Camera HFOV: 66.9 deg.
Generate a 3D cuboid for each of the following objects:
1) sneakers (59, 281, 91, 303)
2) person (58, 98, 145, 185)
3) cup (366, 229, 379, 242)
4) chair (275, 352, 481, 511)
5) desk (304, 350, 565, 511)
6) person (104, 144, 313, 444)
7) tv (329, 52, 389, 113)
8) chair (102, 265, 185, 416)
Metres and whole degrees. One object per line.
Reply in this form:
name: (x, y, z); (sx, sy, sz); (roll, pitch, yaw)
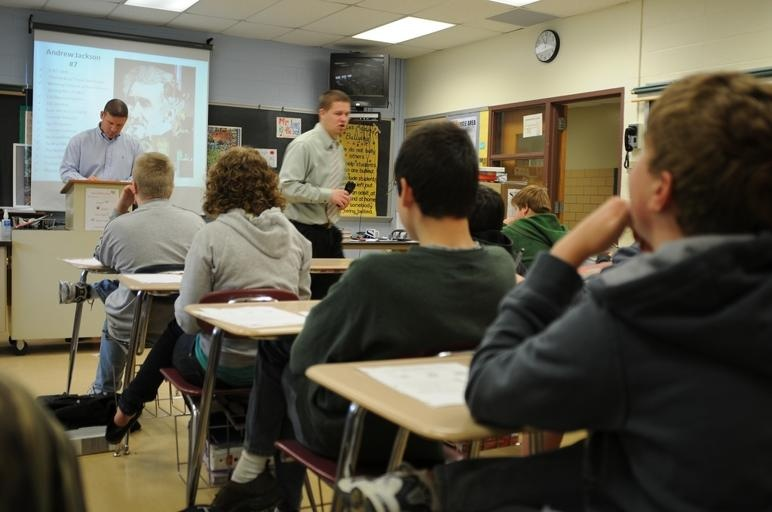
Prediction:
sneakers: (-1.821, 0.200, 3.444); (0.188, 0.085, 0.108); (0, 2, -41)
person: (-3.018, -1.074, 6.250); (0.835, 1.291, 0.676); (2, 9, -39)
cup: (-0.172, -0.263, 6.272); (0.150, 0.145, 0.102); (1, 3, 28)
chair: (-0.032, 0.342, 1.189); (0.330, 0.316, 0.330); (1, 7, -14)
desk: (0.088, 0.313, 1.260); (0.438, 0.325, 0.359); (-2, 5, -40)
person: (-0.781, 0.210, 2.675); (0.642, 1.414, 0.949); (6, 5, -38)
tv: (-0.373, -2.532, 8.255); (0.853, 0.814, 0.457); (2, -2, 7)
chair: (-1.130, 0.332, 2.715); (0.457, 0.673, 0.595); (3, 2, -31)
